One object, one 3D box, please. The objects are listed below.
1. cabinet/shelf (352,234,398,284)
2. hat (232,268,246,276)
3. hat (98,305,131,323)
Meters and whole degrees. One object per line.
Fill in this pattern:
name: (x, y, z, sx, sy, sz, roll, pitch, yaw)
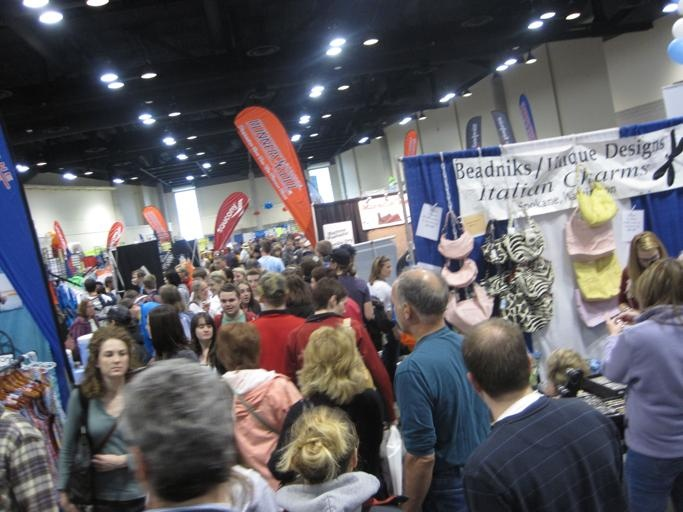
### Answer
cabinet/shelf: (0.560, 0.047, 8.375, 0.692, 1.130, 0.599, -7, 0, 3)
hat: (-1.350, 0.200, 6.730, 0.125, 0.122, 0.143, 1, 0, -10)
hat: (-1.936, 0.491, 4.351, 0.208, 0.129, 0.155, -5, -5, -12)
